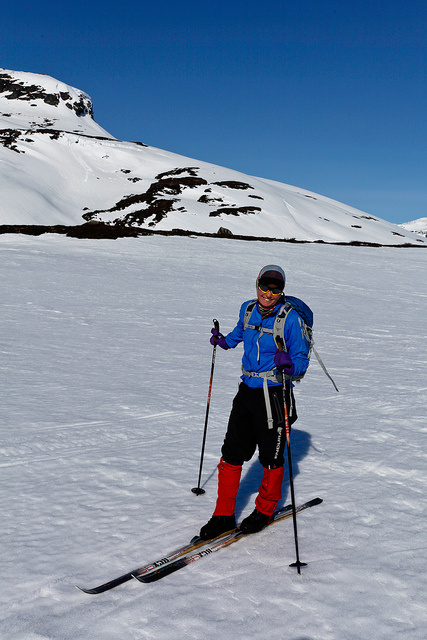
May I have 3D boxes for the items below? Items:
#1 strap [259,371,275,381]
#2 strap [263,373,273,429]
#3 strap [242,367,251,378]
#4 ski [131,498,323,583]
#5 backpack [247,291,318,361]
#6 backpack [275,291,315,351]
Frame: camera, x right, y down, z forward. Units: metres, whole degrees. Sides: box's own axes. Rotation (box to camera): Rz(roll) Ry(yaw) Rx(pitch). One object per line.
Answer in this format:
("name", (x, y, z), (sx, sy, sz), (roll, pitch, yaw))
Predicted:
("strap", (0.408, 0.423, 5.641), (0.078, 0.066, 0.022), (11, 6, 10))
("strap", (0.418, 0.620, 5.579), (0.049, 0.375, 0.051), (-8, -3, 12))
("strap", (0.264, 0.400, 5.788), (0.059, 0.029, 0.105), (-22, 22, -7))
("ski", (0.100, 1.617, 5.430), (2.223, 0.105, 0.244), (-8, 27, -38))
("backpack", (0.496, 0.047, 5.832), (0.425, 0.530, 0.649), (0, 3, 37))
("backpack", (0.635, 0.014, 5.733), (0.259, 0.399, 0.422), (4, 9, 10))
